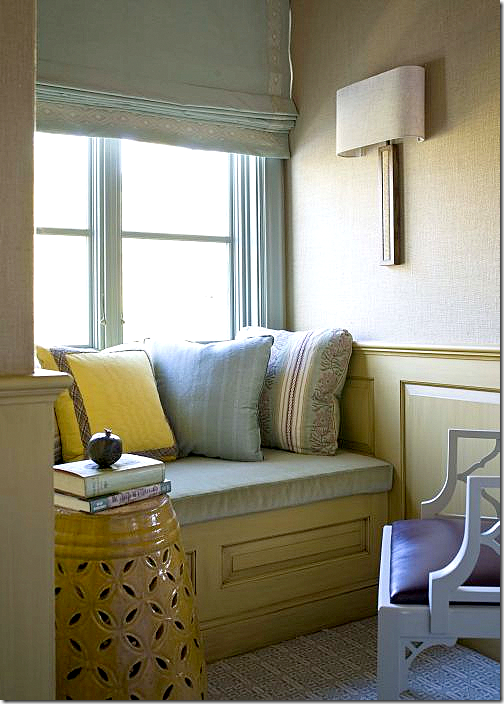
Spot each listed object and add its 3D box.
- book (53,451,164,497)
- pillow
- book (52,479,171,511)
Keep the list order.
[{"bbox_3d":[-0.294,0.257,1.278,0.134,0.032,0.135,2,3,38],"label":"book"},{"bbox_3d":[-0.177,0.151,2.328,1.228,0.500,0.363,2,-2,-24],"label":"pillow"},{"bbox_3d":[-0.278,0.303,1.265,0.241,0.042,0.109,1,-1,-21],"label":"book"}]
